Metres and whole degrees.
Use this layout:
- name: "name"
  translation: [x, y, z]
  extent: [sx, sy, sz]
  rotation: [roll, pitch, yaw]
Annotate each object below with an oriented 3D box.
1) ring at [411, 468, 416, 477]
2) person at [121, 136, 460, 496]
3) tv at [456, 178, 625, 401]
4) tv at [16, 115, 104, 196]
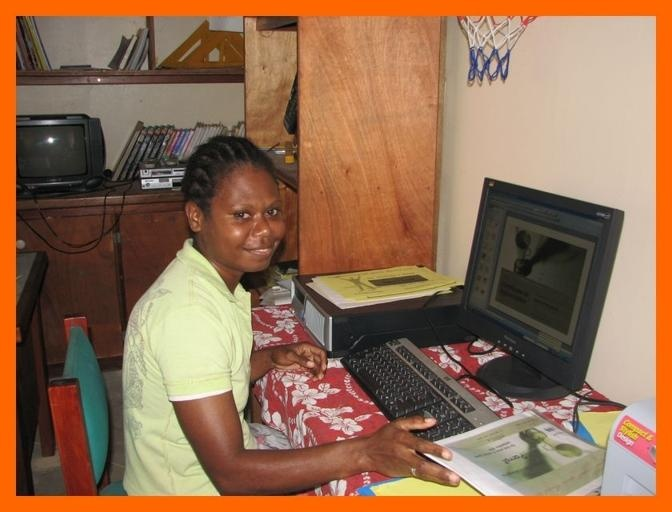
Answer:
- name: "ring"
  translation: [0.152, 0.429, 0.994]
  extent: [0.005, 0.014, 0.011]
  rotation: [-5, 8, -3]
- name: "person"
  translation: [-0.131, 0.159, 1.213]
  extent: [0.775, 0.810, 0.551]
  rotation: [1, 13, 9]
- name: "tv"
  translation: [0.524, 0.094, 1.263]
  extent: [0.255, 0.504, 0.454]
  rotation: [-6, 21, -25]
- name: "tv"
  translation: [-1.732, -0.605, 3.176]
  extent: [0.589, 0.483, 0.316]
  rotation: [-4, 0, -9]
